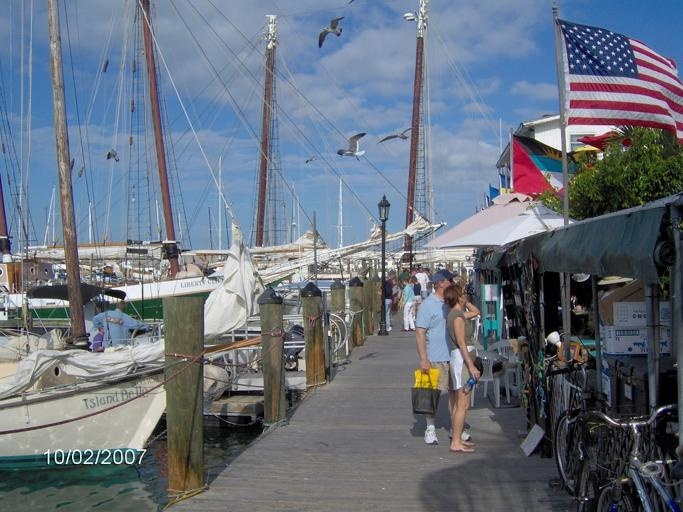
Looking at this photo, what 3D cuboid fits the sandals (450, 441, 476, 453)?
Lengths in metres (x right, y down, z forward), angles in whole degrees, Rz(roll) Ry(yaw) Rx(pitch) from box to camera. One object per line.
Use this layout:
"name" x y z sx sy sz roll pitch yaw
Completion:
"sandals" 1.757 2.757 12.774 0.327 0.164 0.147 -2 2 4

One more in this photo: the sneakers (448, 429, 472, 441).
"sneakers" 1.795 2.683 13.227 0.142 0.216 0.426 0 -2 -39

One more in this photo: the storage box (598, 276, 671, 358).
"storage box" 3.848 0.869 11.744 0.853 1.002 0.923 -1 5 8

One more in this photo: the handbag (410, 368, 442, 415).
"handbag" 1.226 1.979 12.793 0.416 0.540 0.262 -2 -1 4

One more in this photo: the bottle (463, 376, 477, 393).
"bottle" 1.804 1.821 12.447 0.161 0.185 0.194 -2 -1 6

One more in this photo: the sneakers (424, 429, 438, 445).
"sneakers" 1.331 2.702 13.176 0.108 0.156 0.301 1 6 1
